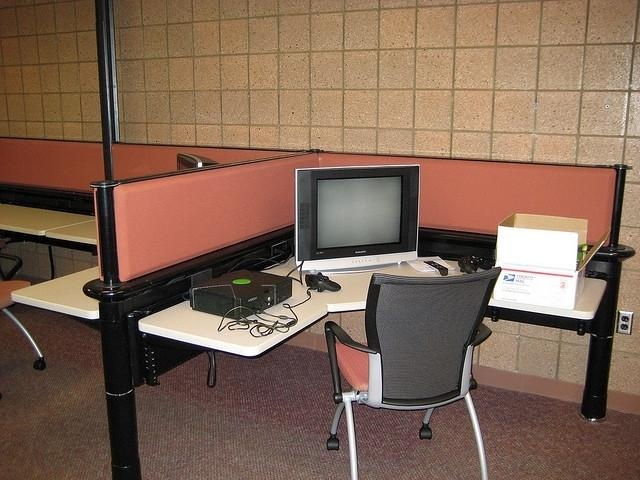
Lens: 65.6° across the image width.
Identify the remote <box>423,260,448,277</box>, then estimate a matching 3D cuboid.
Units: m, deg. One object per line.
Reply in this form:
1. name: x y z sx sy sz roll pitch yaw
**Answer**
1. remote: 0.730 0.168 3.077 0.048 0.039 0.175 -7 19 -14
